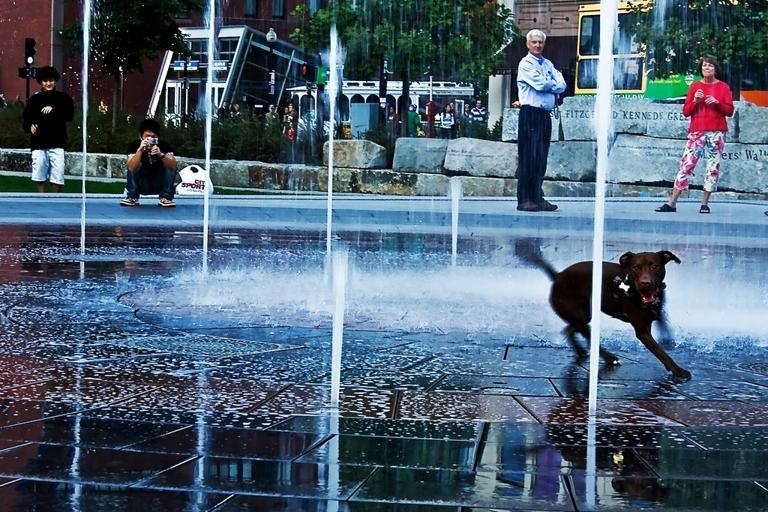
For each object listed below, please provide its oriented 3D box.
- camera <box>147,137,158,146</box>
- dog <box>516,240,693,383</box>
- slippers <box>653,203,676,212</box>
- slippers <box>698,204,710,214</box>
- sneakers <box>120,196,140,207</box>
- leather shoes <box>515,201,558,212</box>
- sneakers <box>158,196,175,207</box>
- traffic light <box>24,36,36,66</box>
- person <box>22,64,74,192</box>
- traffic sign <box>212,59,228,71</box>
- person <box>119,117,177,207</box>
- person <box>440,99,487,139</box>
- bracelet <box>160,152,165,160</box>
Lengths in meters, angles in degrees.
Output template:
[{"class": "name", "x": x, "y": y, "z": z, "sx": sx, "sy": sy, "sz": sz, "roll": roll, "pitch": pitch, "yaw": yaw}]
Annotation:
[{"class": "camera", "x": -3.429, "y": -1.699, "z": 15.746, "sx": 0.048, "sy": 0.083, "sz": 0.211, "roll": 5, "pitch": 5, "yaw": 22}, {"class": "dog", "x": 1.560, "y": 0.323, "z": 7.576, "sx": 0.596, "sy": 0.812, "sz": 1.857, "roll": -7, "pitch": 8, "yaw": -25}, {"class": "slippers", "x": 4.063, "y": -0.697, "z": 15.451, "sx": 0.270, "sy": 0.100, "sz": 0.132, "roll": 6, "pitch": 6, "yaw": 37}, {"class": "slippers", "x": 4.635, "y": -0.673, "z": 15.407, "sx": 0.119, "sy": 0.064, "sz": 0.191, "roll": 3, "pitch": 9, "yaw": 11}, {"class": "sneakers", "x": -4.007, "y": -0.859, "z": 16.789, "sx": 0.333, "sy": 0.141, "sz": 0.117, "roll": 4, "pitch": 7, "yaw": 5}, {"class": "leather shoes", "x": 2.207, "y": -0.697, "z": 15.350, "sx": 0.587, "sy": 0.212, "sz": 0.203, "roll": -1, "pitch": 5, "yaw": -9}, {"class": "sneakers", "x": -3.404, "y": -0.843, "z": 16.760, "sx": 0.273, "sy": 0.122, "sz": 0.110, "roll": 0, "pitch": 1, "yaw": 35}, {"class": "traffic light", "x": -9.172, "y": -5.295, "z": 27.753, "sx": 0.204, "sy": 0.676, "sz": 0.728, "roll": -3, "pitch": 11, "yaw": -22}, {"class": "person", "x": -5.448, "y": -2.019, "z": 17.388, "sx": 0.751, "sy": 2.092, "sz": 1.210, "roll": -2, "pitch": 11, "yaw": -18}, {"class": "traffic sign", "x": -6.195, "y": -7.255, "z": 40.667, "sx": 0.511, "sy": 0.396, "sz": 0.869, "roll": -1, "pitch": 11, "yaw": -11}, {"class": "person", "x": -3.569, "y": -1.379, "z": 16.214, "sx": 0.811, "sy": 1.418, "sz": 1.257, "roll": -1, "pitch": 10, "yaw": -13}, {"class": "person", "x": 1.604, "y": -2.770, "z": 21.527, "sx": 0.825, "sy": 0.578, "sz": 0.846, "roll": 3, "pitch": 3, "yaw": -2}, {"class": "bracelet", "x": -3.269, "y": -1.485, "z": 15.844, "sx": 0.070, "sy": 0.060, "sz": 0.067, "roll": 2, "pitch": 0, "yaw": -10}]
